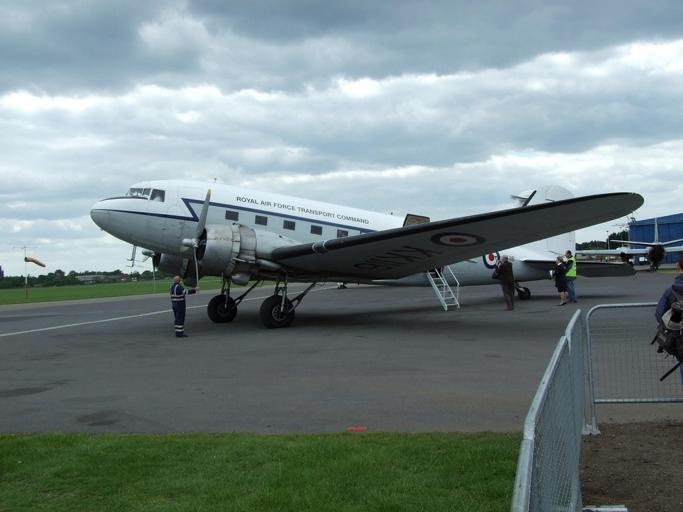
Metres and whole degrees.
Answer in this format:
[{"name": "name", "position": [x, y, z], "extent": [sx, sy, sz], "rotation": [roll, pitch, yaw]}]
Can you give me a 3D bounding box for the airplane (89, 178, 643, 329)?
[{"name": "airplane", "position": [0.439, -0.208, 17.367], "extent": [13.230, 4.188, 10.731], "rotation": [-1, 3, 10]}]
